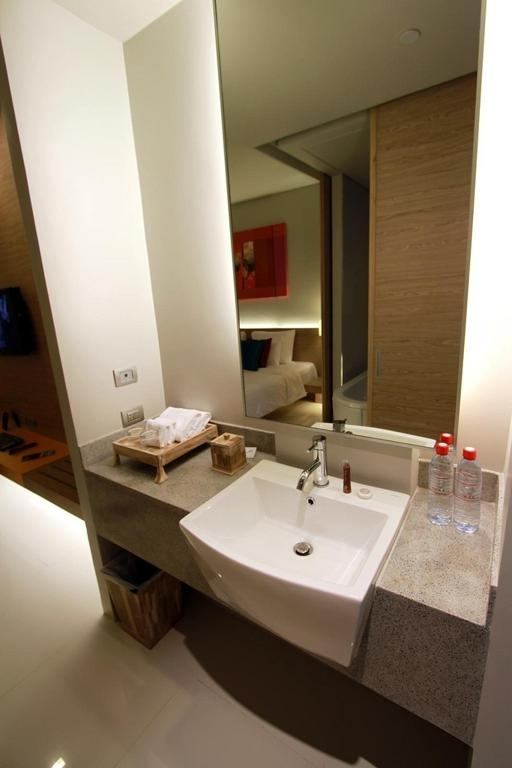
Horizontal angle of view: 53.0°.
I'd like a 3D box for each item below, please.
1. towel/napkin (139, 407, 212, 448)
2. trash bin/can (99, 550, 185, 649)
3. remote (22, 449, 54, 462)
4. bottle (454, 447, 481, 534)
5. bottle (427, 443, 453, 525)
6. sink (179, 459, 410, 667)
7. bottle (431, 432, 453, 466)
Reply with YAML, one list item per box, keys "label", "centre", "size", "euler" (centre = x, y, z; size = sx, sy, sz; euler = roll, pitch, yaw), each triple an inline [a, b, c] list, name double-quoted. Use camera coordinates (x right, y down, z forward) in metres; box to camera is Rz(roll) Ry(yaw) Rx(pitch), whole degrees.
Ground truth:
- label: "towel/napkin"
  centre: [-0.274, 0.136, 1.786]
  size: [0.166, 0.078, 0.308]
  euler: [1, 14, 17]
- label: "trash bin/can"
  centre: [-0.405, 0.747, 1.963]
  size: [0.241, 0.323, 0.281]
  euler: [-1, 21, 37]
- label: "remote"
  centre: [-1.412, 0.457, 3.378]
  size: [0.075, 0.014, 0.264]
  euler: [34, 23, 20]
- label: "bottle"
  centre: [0.497, 0.263, 1.206]
  size: [0.055, 0.178, 0.044]
  euler: [3, 13, 23]
- label: "bottle"
  centre: [0.456, 0.252, 1.258]
  size: [0.059, 0.178, 0.042]
  euler: [-1, 12, 10]
- label: "sink"
  centre: [0.097, 0.436, 1.326]
  size: [0.510, 0.232, 0.490]
  euler: [5, 15, 30]
- label: "bottle"
  centre: [0.457, 0.156, 1.252]
  size: [0.046, 0.097, 0.048]
  euler: [-6, 14, 1]
